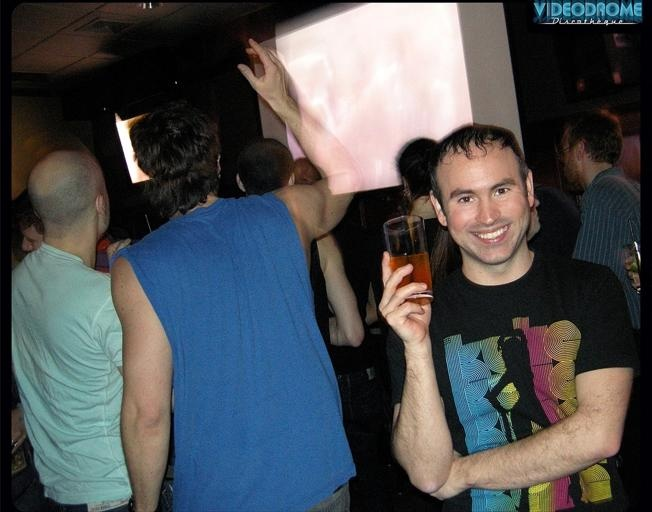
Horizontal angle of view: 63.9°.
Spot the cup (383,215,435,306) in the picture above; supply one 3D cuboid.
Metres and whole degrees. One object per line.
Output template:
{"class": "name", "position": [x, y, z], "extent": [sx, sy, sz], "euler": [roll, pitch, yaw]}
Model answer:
{"class": "cup", "position": [0.273, 0.016, 1.712], "extent": [0.134, 0.189, 0.119], "euler": [-11, 6, 6]}
